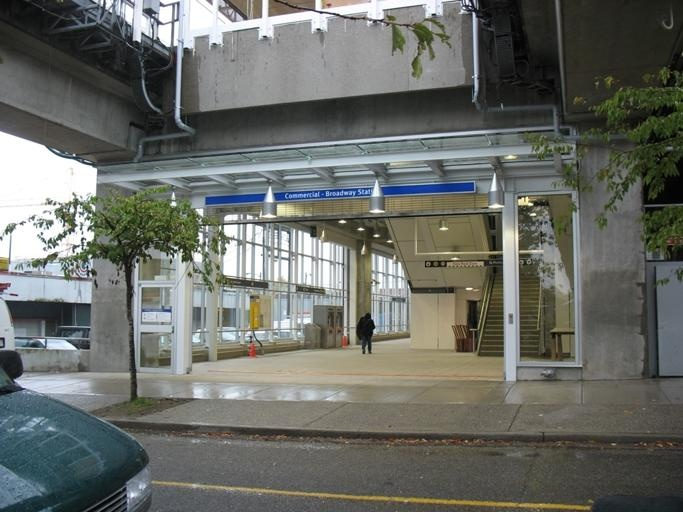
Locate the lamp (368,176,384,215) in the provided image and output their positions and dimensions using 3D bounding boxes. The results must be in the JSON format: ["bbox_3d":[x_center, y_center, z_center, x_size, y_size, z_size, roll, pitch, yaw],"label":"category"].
[{"bbox_3d":[0.824,-1.458,17.034,0.307,0.845,0.715,-2,-6,2],"label":"lamp"}]

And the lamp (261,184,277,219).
[{"bbox_3d":[-1.770,-1.353,17.287,0.297,0.785,0.472,-1,-6,-8],"label":"lamp"}]
